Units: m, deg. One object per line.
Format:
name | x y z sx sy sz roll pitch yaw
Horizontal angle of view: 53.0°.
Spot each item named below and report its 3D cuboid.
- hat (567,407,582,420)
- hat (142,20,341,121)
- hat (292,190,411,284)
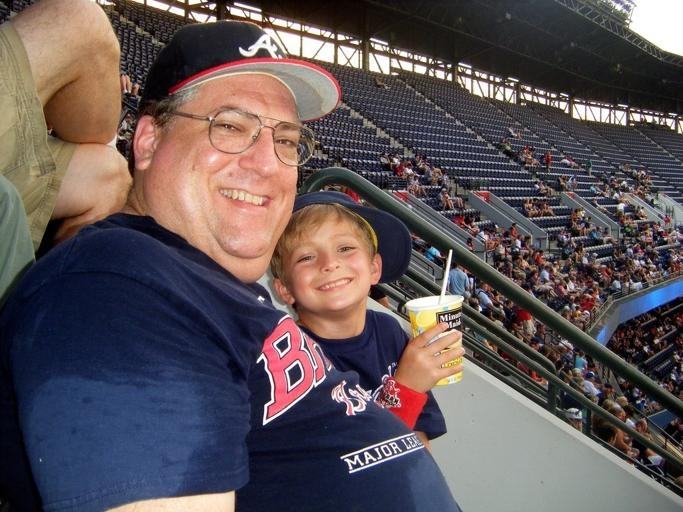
hat | 1.231 0.828 3.590 0.067 0.043 0.099 1 -14 3
hat | -0.278 -0.501 1.867 0.405 0.198 0.308 -13 7 10
hat | 0.037 -0.108 2.429 0.382 0.255 0.118 24 54 26
